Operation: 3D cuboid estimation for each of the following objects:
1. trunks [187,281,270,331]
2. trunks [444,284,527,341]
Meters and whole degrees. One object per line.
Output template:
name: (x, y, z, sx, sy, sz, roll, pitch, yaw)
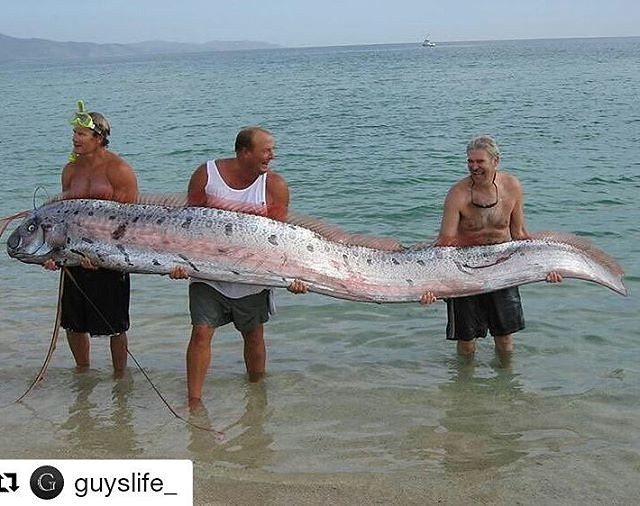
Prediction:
trunks: (-0.804, 0.453, 7.195, 0.662, 0.263, 0.378, 7, 43, -7)
trunks: (1.574, 0.571, 7.880, 1.048, 0.583, 0.463, -3, 0, -13)
